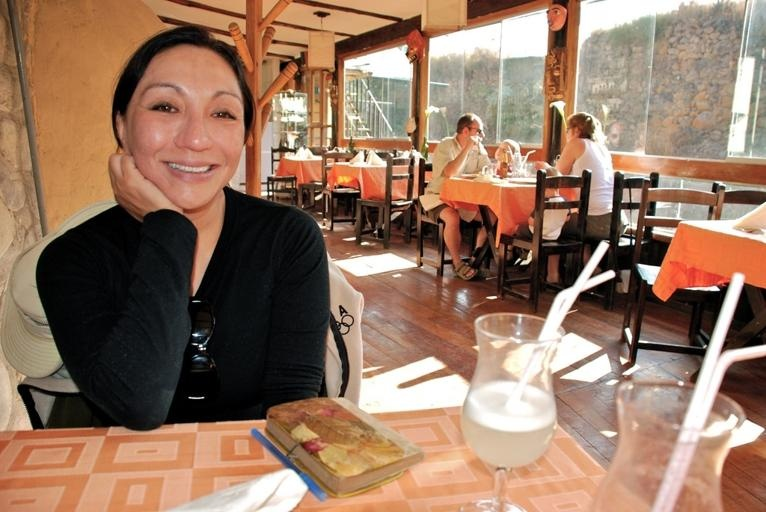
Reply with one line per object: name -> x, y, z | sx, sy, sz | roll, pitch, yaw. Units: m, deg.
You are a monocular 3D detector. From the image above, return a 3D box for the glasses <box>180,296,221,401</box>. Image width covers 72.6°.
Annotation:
glasses -> -0.467, 0.239, 1.312 | 0.094, 0.242, 0.106 | -6, 16, -12

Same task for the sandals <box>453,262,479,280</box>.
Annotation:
sandals -> 0.756, 0.125, 4.774 | 0.103, 0.090, 0.255 | -6, 16, -14

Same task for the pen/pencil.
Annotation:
pen/pencil -> -0.165, 0.375, 0.940 | 0.179, 0.023, 0.026 | 34, -1, 42

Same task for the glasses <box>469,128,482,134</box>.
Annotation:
glasses -> 0.902, -1.216, 5.062 | 0.045, 0.065, 0.131 | 11, 20, 41
